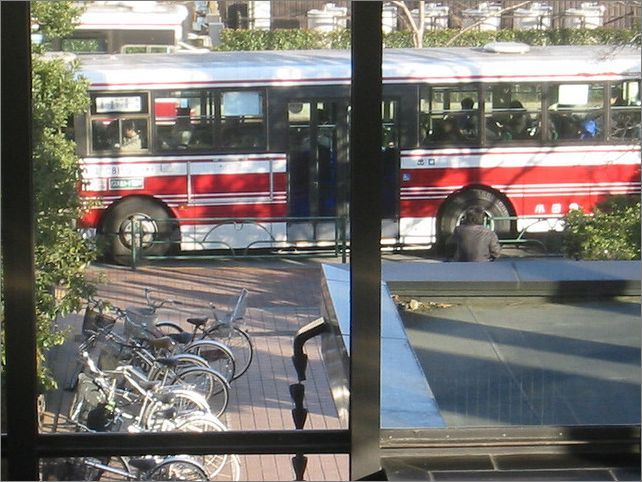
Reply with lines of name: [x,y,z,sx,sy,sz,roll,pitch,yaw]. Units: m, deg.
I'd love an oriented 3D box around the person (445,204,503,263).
person: [2.004,0.152,17.366,0.550,1.104,0.609,1,-4,1]

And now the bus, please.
bus: [0.472,-1.506,22.106,11.503,3.623,3.354,0,7,0]
